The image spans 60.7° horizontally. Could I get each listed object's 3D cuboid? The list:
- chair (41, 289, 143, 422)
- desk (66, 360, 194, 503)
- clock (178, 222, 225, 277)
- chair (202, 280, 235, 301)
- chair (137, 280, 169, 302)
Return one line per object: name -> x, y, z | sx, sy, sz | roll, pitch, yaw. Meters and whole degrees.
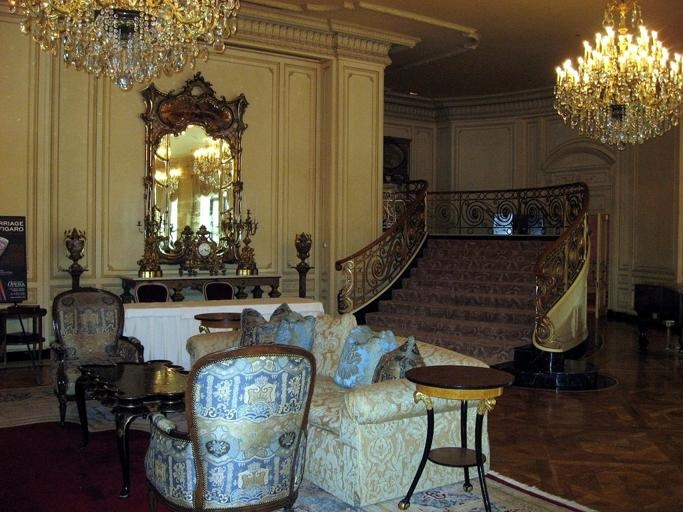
chair -> -2.250, 0.861, 5.419 | 0.816, 1.048, 0.821 | 1, 5, -23
desk -> -1.438, 1.082, 4.282 | 0.554, 0.432, 0.810 | -7, 12, -27
clock -> -2.025, -0.094, 8.284 | 0.733, 0.844, 0.124 | 2, -8, -35
chair -> -1.650, 0.440, 7.819 | 0.283, 0.436, 0.314 | 0, -1, -17
chair -> -2.341, 0.407, 7.288 | 0.285, 0.461, 0.328 | 1, -2, -21
